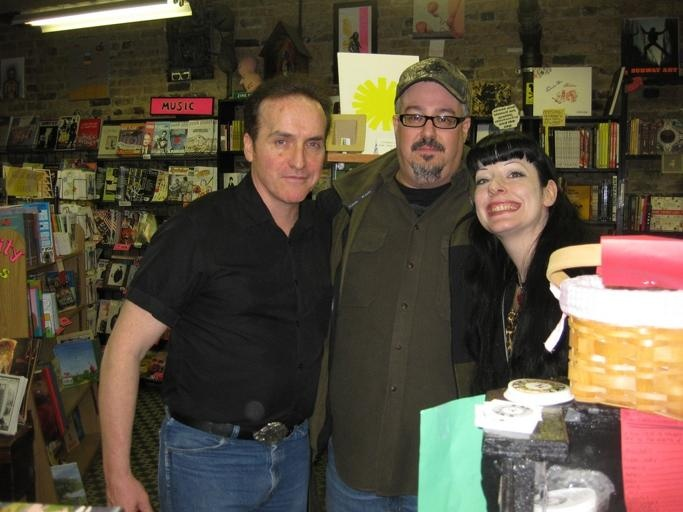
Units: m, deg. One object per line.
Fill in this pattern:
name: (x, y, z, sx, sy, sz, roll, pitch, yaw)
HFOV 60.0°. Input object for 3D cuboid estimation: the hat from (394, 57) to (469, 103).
hat: (0.380, -0.743, 2.504, 0.281, 0.188, 0.373, 7, 3, 13)

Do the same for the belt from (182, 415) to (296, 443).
belt: (-0.354, 0.613, 2.090, 0.187, 0.048, 0.164, 8, -6, 2)

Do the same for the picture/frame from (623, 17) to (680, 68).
picture/frame: (2.865, -1.973, 5.489, 0.487, 0.480, 0.051, -1, 2, 8)
